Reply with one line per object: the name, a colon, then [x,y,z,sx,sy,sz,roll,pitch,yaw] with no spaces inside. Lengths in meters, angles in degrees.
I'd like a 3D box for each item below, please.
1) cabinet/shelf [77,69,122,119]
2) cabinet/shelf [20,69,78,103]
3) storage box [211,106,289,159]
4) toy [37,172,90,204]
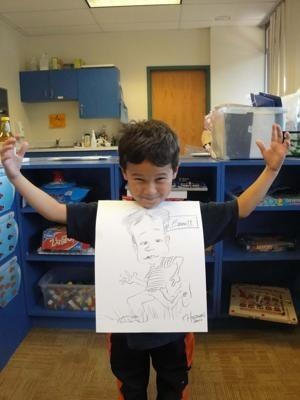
cabinet/shelf: [-0.551,-1.485,4.720,0.821,0.684,0.845,2,11,11]
cabinet/shelf: [-1.470,-1.644,4.587,0.858,0.413,0.316,-18,42,-37]
storage box: [0.476,-0.342,1.781,0.402,0.293,0.305,-2,10,-5]
toy: [-0.458,-0.058,1.747,0.205,0.110,0.192,2,8,-6]
